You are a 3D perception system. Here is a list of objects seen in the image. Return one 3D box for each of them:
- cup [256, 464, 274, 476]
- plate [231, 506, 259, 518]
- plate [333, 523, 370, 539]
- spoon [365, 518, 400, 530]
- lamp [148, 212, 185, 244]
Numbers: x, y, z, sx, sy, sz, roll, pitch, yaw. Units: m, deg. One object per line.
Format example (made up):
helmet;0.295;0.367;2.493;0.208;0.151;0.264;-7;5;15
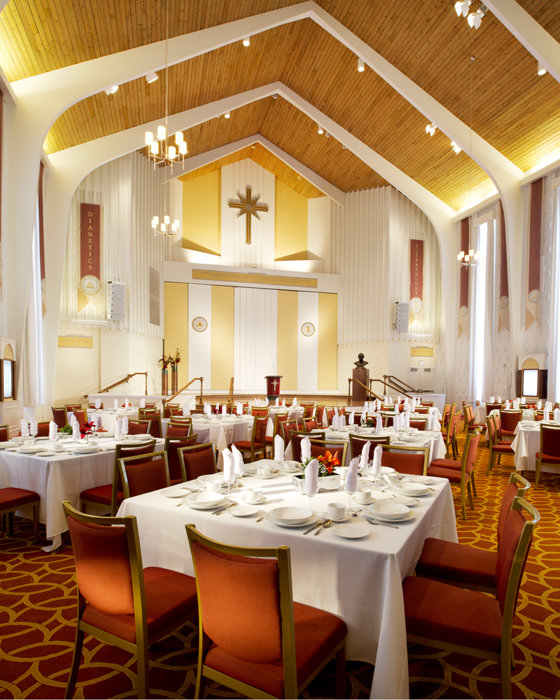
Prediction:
cup;-0.103;0.772;3.382;0.073;0.056;0.060;-5;1;16
plate;-0.161;0.765;2.517;0.128;0.016;0.195;-1;0;-5
plate;0.308;0.773;2.240;0.161;0.020;0.164;-1;0;6
spoon;0.466;0.787;2.398;0.167;0.010;0.098;-1;0;23
lamp;-2.989;-3.192;13.773;1.230;0.658;1.595;3;20;-5
